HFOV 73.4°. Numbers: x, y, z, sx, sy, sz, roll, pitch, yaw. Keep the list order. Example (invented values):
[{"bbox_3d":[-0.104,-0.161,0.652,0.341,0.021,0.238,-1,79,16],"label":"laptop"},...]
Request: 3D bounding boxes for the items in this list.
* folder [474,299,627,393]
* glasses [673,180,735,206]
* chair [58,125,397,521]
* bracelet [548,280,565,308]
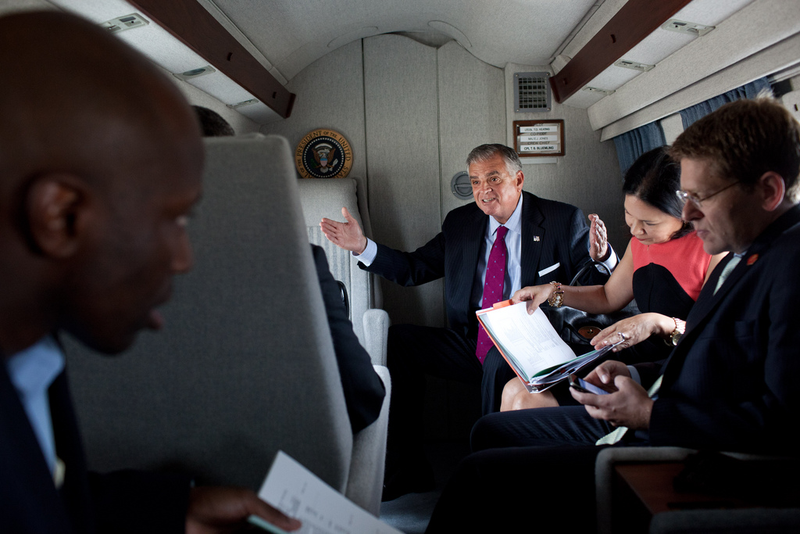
[{"bbox_3d":[0.561,0.285,2.225,0.166,0.394,0.441,-48,-18,31],"label":"folder"},{"bbox_3d":[0.977,-0.223,1.697,0.122,0.037,0.119,-28,6,-3],"label":"glasses"},{"bbox_3d":[-0.333,0.140,1.675,0.637,0.969,0.853,0,5,2],"label":"chair"},{"bbox_3d":[0.781,0.141,2.667,0.036,0.104,0.092,2,3,3],"label":"bracelet"}]
